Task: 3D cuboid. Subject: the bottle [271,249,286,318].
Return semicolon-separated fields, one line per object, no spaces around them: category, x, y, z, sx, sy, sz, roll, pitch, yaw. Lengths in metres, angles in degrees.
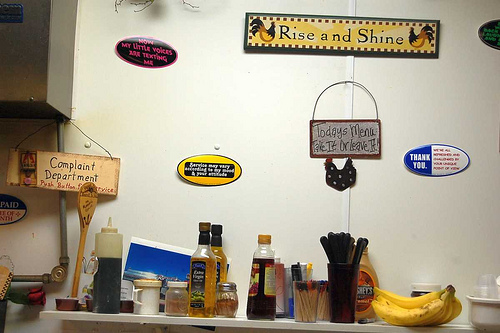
bottle;0.140;0.577;2.574;0.079;0.298;0.082;0;0;0

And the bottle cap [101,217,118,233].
bottle cap;-0.663;0.285;2.549;0.067;0.081;0.073;-1;-15;5

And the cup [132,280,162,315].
cup;-0.501;0.611;2.488;0.106;0.163;0.174;4;-1;24

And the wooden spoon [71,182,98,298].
wooden spoon;-0.800;0.359;2.617;0.099;0.548;0.120;2;-4;-11

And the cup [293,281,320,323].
cup;0.275;0.649;2.527;0.147;0.188;0.143;-1;-19;0

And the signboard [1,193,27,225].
signboard;-1.197;0.223;2.685;0.133;0.099;0.019;5;-8;-6

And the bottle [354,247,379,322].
bottle;0.575;0.588;2.581;0.087;0.386;0.095;0;1;0

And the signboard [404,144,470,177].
signboard;0.960;-0.034;2.721;0.329;0.158;0.018;3;-10;-1

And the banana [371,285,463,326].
banana;0.771;0.654;2.436;0.345;0.204;0.203;-2;-11;13

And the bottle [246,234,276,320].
bottle;0.070;0.520;2.515;0.152;0.398;0.117;4;-10;-11

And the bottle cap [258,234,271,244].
bottle cap;0.071;0.349;2.537;0.047;0.032;0.050;2;-5;-2

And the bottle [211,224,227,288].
bottle;-0.159;0.462;2.573;0.103;0.361;0.104;-3;-6;0

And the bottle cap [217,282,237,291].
bottle cap;-0.109;0.562;2.474;0.049;0.053;0.050;-1;-6;42

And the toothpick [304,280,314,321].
toothpick;0.274;0.631;2.465;0.005;0.180;0.006;-11;-12;-6

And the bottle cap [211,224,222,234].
bottle cap;-0.159;0.302;2.548;0.039;0.039;0.040;3;-2;-16

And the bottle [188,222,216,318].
bottle;-0.219;0.481;2.497;0.131;0.437;0.132;1;-9;0

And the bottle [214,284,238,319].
bottle;-0.134;0.643;2.516;0.152;0.166;0.117;5;-8;-13

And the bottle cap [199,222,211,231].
bottle cap;-0.214;0.278;2.464;0.036;0.029;0.038;-2;-7;24
